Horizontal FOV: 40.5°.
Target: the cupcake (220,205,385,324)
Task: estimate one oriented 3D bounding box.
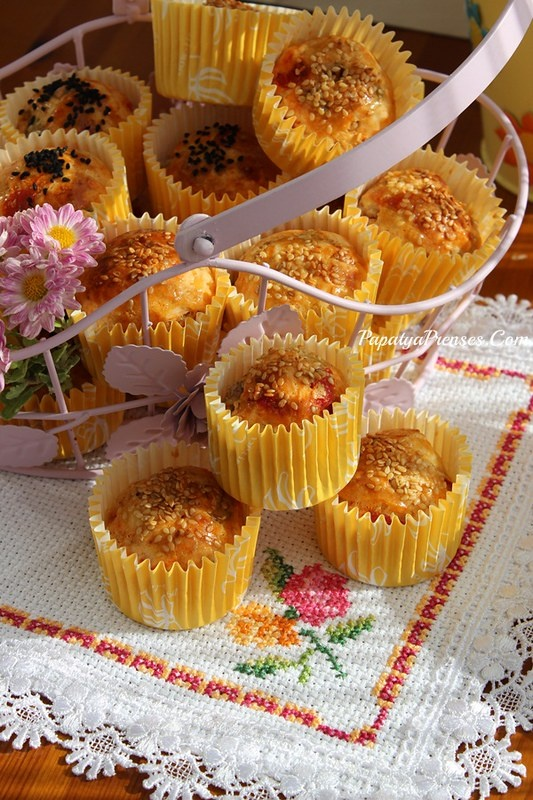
[{"bbox_3d":[0.036,-0.151,0.758,0.154,0.075,0.145,-22,54,-19],"label":"cupcake"}]

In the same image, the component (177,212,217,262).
[{"bbox_3d":[-0.046,-0.102,0.460,0.025,0.034,0.021,-1,40,-9],"label":"component"}]

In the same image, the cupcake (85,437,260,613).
[{"bbox_3d":[-0.077,0.110,0.619,0.128,0.091,0.122,-17,39,-20],"label":"cupcake"}]

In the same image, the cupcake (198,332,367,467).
[{"bbox_3d":[0.021,0.022,0.634,0.130,0.079,0.122,0,44,5],"label":"cupcake"}]
